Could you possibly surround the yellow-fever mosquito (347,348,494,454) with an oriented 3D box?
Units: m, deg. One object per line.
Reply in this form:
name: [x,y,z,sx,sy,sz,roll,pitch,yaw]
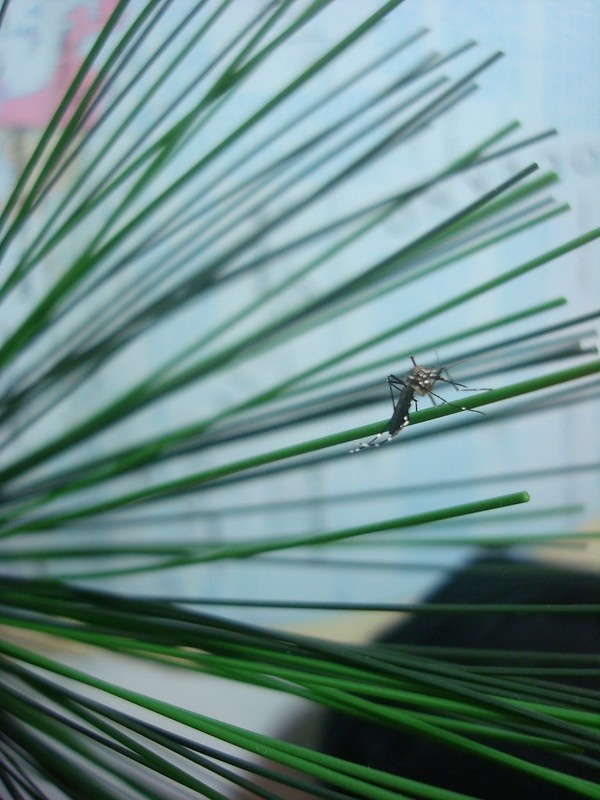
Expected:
yellow-fever mosquito: [0.053,-0.002,0.306,0.044,0.045,0.012,2,-57,60]
